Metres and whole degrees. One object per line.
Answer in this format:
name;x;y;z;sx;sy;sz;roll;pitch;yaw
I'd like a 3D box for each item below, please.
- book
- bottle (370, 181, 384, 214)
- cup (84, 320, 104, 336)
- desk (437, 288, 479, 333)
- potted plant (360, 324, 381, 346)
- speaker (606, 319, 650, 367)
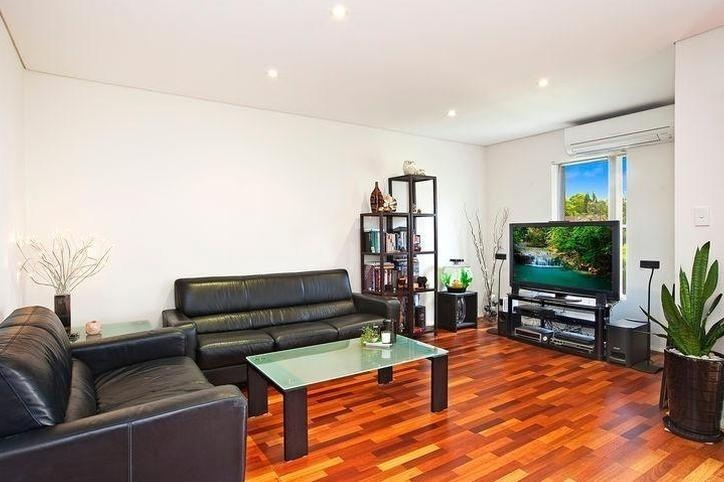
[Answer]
book;0.386;0.269;6.644;0.987;0.883;0.339;1;-2;-41
bottle;0.211;-0.618;6.698;0.193;0.406;0.408;-1;10;1
cup;-2.610;0.845;4.614;0.152;0.144;0.152;2;-7;0
desk;1.509;1.107;7.467;0.562;0.706;0.732;3;-3;18
potted plant;0.096;0.975;4.886;0.185;0.079;0.182;-2;5;-19
speaker;3.198;1.228;5.735;0.412;0.449;0.340;-5;5;-33
